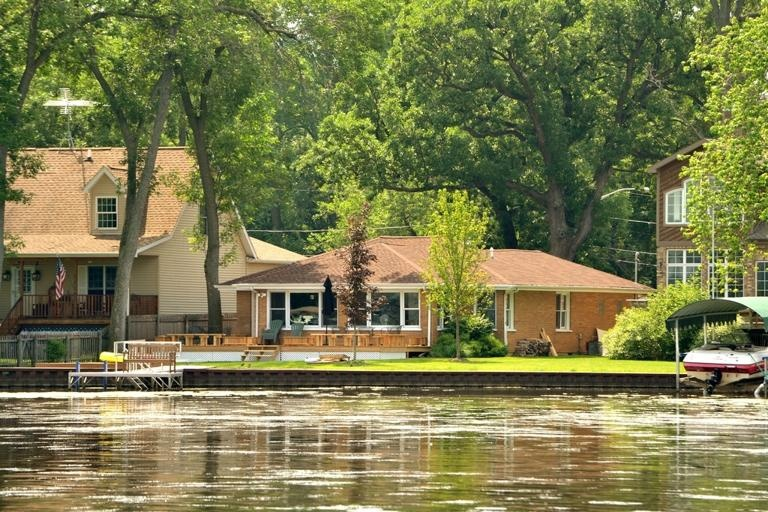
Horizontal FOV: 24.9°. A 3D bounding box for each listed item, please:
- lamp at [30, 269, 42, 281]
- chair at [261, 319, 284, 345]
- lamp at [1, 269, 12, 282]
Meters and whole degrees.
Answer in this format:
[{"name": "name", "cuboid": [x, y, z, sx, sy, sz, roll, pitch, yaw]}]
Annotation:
[{"name": "lamp", "cuboid": [-20.478, 1.127, 101.272, 0.645, 0.843, 0.642, 0, 1, 1]}, {"name": "chair", "cuboid": [-6.160, 4.202, 95.878, 1.091, 1.370, 1.219, 2, -8, -2]}, {"name": "lamp", "cuboid": [-22.172, 1.150, 101.648, 0.823, 0.660, 0.470, -7, -11, 44]}]
